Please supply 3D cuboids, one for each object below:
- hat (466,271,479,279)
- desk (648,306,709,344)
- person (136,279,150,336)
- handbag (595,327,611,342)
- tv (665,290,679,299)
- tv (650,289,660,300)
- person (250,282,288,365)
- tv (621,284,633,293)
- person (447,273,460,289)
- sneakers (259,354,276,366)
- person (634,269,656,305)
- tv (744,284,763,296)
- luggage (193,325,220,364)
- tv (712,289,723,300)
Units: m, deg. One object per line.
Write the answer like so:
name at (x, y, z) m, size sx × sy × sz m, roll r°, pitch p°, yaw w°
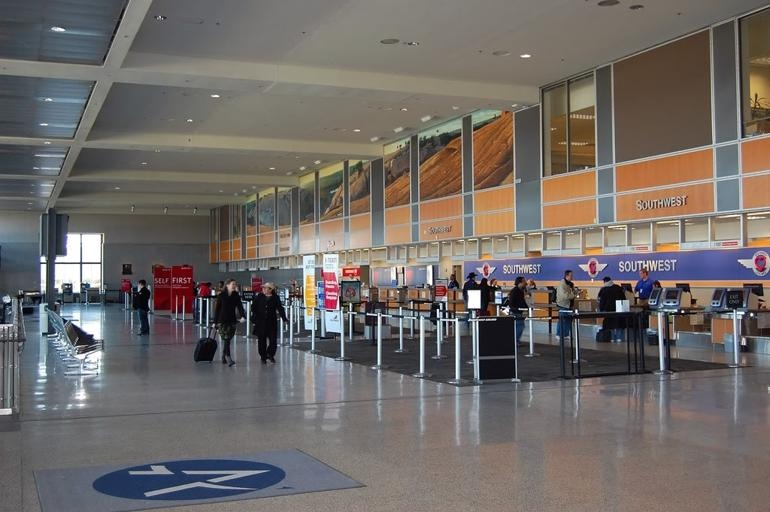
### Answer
hat at (2.578, 0.586, 17.712) m, size 0.440 × 0.172 × 0.498 m, roll -3°, pitch -2°, yaw 29°
desk at (7.475, 1.729, 15.244) m, size 1.420 × 0.896 × 0.694 m, roll 2°, pitch -2°, yaw -23°
person at (-8.465, 1.774, 21.252) m, size 0.368 × 1.852 × 1.396 m, roll 1°, pitch -4°, yaw -22°
handbag at (6.503, 2.317, 17.842) m, size 0.450 × 0.395 × 0.424 m, roll 2°, pitch -3°, yaw -1°
tv at (7.172, 0.952, 15.048) m, size 0.229 × 0.207 × 0.122 m, roll 1°, pitch -39°, yaw 43°
tv at (7.381, 1.015, 16.520) m, size 0.223 × 0.284 × 0.451 m, roll -2°, pitch -4°, yaw 22°
person at (-2.759, 1.560, 14.369) m, size 0.737 × 1.847 × 0.750 m, roll -3°, pitch -4°, yaw 28°
tv at (6.889, 0.920, 17.209) m, size 0.228 × 0.209 × 0.155 m, roll 3°, pitch -14°, yaw -2°
person at (2.797, 1.002, 24.161) m, size 0.506 × 0.810 × 0.653 m, roll 4°, pitch -6°, yaw 3°
sneakers at (-2.727, 2.440, 14.205) m, size 0.156 × 0.286 × 0.455 m, roll 2°, pitch -5°, yaw 10°
person at (7.334, 0.855, 17.041) m, size 0.534 × 1.033 × 1.193 m, roll -2°, pitch -4°, yaw 22°
tv at (8.980, 0.816, 14.613) m, size 0.528 × 0.260 × 0.356 m, roll 1°, pitch -4°, yaw 8°
luggage at (-4.190, 1.993, 14.334) m, size 0.452 × 1.016 × 0.342 m, roll 11°, pitch 13°, yaw -33°
tv at (8.088, 0.912, 14.702) m, size 0.077 × 0.254 × 0.286 m, roll 26°, pitch -12°, yaw -38°
